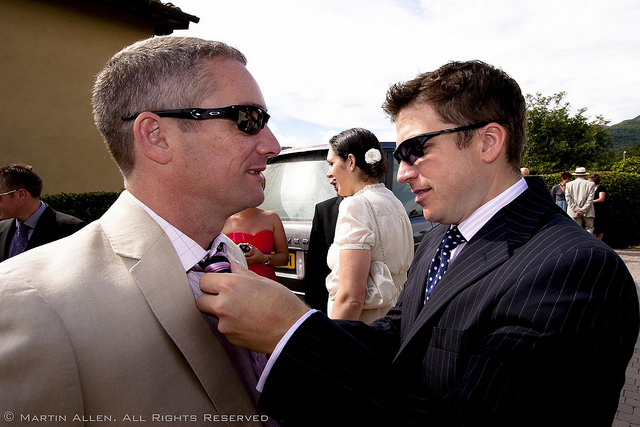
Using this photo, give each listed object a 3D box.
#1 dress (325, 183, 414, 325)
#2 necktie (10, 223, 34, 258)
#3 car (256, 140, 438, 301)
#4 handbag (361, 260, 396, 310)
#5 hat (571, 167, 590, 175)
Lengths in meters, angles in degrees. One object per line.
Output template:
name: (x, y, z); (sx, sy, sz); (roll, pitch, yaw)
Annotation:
dress: (0.357, 0.276, 3.371); (0.822, 0.960, 0.435); (-9, 13, -41)
necktie: (-3.264, 0.283, 4.721); (0.283, 0.353, 0.147); (4, 10, 23)
car: (0.442, -0.065, 4.720); (2.144, 1.123, 1.208); (-3, -1, -22)
handbag: (0.423, 0.533, 3.194); (0.202, 0.389, 0.387); (-3, -4, 37)
hat: (7.221, -1.149, 11.989); (0.456, 0.166, 0.498); (-1, -1, 24)
